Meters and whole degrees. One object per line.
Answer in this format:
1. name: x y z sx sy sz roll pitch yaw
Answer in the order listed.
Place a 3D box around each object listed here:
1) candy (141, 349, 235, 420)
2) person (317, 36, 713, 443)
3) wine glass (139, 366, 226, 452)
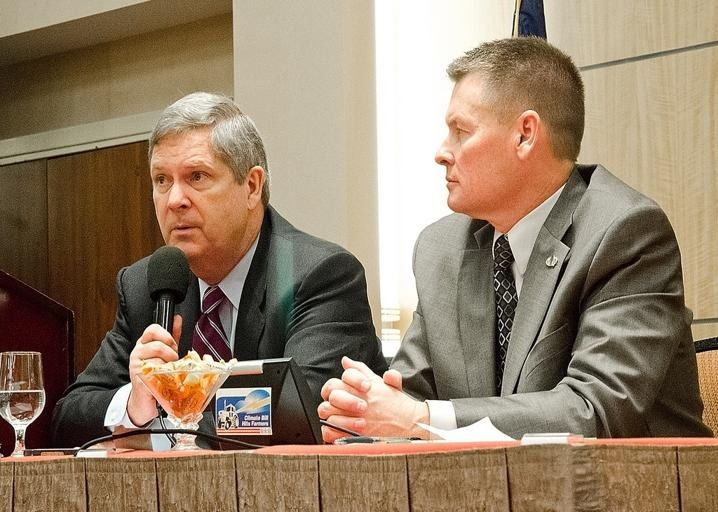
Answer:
1. candy: -0.362 0.265 1.422 0.140 0.101 0.152 -3 -13 -6
2. person: 0.494 0.049 2.387 1.152 1.399 0.927 4 -11 -19
3. wine glass: -0.370 0.316 1.427 0.142 0.129 0.158 1 -15 -5
